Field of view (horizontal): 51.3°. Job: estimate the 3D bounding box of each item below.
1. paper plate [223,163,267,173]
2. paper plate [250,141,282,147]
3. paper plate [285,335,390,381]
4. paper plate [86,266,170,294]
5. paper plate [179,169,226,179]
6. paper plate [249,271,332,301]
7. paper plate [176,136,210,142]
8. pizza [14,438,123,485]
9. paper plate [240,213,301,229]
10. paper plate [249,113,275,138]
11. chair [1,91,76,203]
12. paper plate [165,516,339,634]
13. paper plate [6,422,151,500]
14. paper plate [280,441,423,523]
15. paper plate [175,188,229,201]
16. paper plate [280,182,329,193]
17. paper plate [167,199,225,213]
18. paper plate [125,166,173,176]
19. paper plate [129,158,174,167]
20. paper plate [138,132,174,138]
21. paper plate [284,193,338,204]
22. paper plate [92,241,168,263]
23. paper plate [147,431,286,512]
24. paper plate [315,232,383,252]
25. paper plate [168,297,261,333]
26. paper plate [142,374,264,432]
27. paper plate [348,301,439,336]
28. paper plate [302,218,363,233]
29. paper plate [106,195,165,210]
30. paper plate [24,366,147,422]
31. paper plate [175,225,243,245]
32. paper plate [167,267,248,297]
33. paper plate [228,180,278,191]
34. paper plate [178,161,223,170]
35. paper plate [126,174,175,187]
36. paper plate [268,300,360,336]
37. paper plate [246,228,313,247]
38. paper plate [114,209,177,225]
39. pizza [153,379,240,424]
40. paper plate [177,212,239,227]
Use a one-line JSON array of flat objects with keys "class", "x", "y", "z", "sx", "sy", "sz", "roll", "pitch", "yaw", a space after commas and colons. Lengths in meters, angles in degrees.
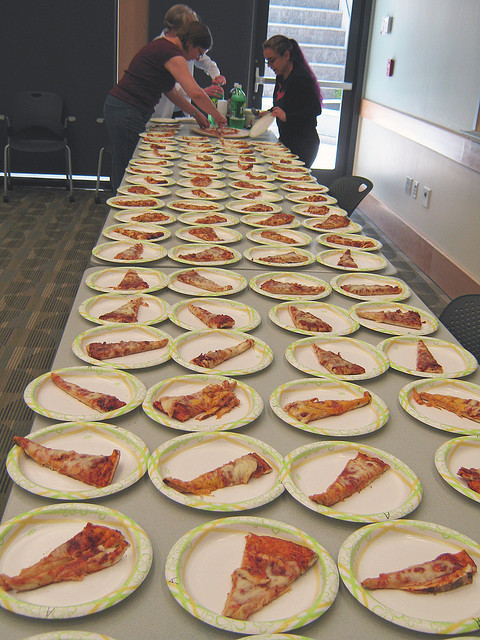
[{"class": "paper plate", "x": 0.029, "y": -0.768, "z": 2.505, "sx": 0.217, "sy": 0.034, "sz": 0.189, "roll": 4, "pitch": 19, "yaw": -1}, {"class": "paper plate", "x": 0.147, "y": -1.121, "z": 3.157, "sx": 0.179, "sy": 0.034, "sz": 0.222, "roll": -6, "pitch": 21, "yaw": -27}, {"class": "paper plate", "x": 0.188, "y": 0.074, "z": 0.970, "sx": 0.186, "sy": 0.030, "sz": 0.174, "roll": 16, "pitch": 22, "yaw": 31}, {"class": "paper plate", "x": -0.284, "y": -0.098, "z": 1.250, "sx": 0.134, "sy": 0.033, "sz": 0.140, "roll": -6, "pitch": 18, "yaw": -29}, {"class": "paper plate", "x": -0.173, "y": -0.681, "z": 2.314, "sx": 0.212, "sy": 0.034, "sz": 0.173, "roll": 2, "pitch": 19, "yaw": -7}, {"class": "paper plate", "x": 0.133, "y": -0.087, "z": 1.300, "sx": 0.196, "sy": 0.039, "sz": 0.175, "roll": 16, "pitch": 22, "yaw": 32}, {"class": "paper plate", "x": -0.302, "y": -1.124, "z": 3.084, "sx": 0.195, "sy": 0.042, "sz": 0.255, "roll": -4, "pitch": 20, "yaw": -22}, {"class": "pizza", "x": -0.223, "y": 0.178, "z": 0.677, "sx": 0.141, "sy": 0.053, "sz": 0.042, "roll": 15, "pitch": 48, "yaw": 9}, {"class": "paper plate", "x": 0.099, "y": -0.356, "z": 1.789, "sx": 0.118, "sy": 0.015, "sz": 0.115, "roll": -6, "pitch": 31, "yaw": -11}, {"class": "paper plate", "x": 0.137, "y": -1.306, "z": 3.328, "sx": 0.142, "sy": 0.164, "sz": 0.190, "roll": 4, "pitch": 19, "yaw": -2}, {"class": "chair", "x": -1.931, "y": -1.675, "z": 4.787, "sx": 0.692, "sy": 1.022, "sz": 0.705, "roll": -2, "pitch": 20, "yaw": -17}, {"class": "paper plate", "x": 0.010, "y": 0.260, "z": 0.508, "sx": 0.166, "sy": 0.026, "sz": 0.149, "roll": 14, "pitch": 21, "yaw": 27}, {"class": "paper plate", "x": -0.213, "y": 0.183, "z": 0.662, "sx": 0.183, "sy": 0.025, "sz": 0.159, "roll": 11, "pitch": 20, "yaw": 19}, {"class": "paper plate", "x": 0.144, "y": 0.215, "z": 0.658, "sx": 0.179, "sy": 0.026, "sz": 0.159, "roll": -7, "pitch": 22, "yaw": -31}, {"class": "paper plate", "x": -0.158, "y": -0.516, "z": 2.035, "sx": 0.163, "sy": 0.040, "sz": 0.191, "roll": 18, "pitch": 23, "yaw": 35}, {"class": "paper plate", "x": 0.289, "y": -0.608, "z": 2.274, "sx": 0.219, "sy": 0.038, "sz": 0.225, "roll": 6, "pitch": 19, "yaw": 5}, {"class": "paper plate", "x": -0.168, "y": -0.431, "z": 1.886, "sx": 0.198, "sy": 0.040, "sz": 0.170, "roll": 9, "pitch": 19, "yaw": 15}, {"class": "paper plate", "x": -0.415, "y": -0.697, "z": 2.318, "sx": 0.213, "sy": 0.037, "sz": 0.173, "roll": 6, "pitch": 19, "yaw": 4}, {"class": "paper plate", "x": -0.448, "y": -0.793, "z": 2.478, "sx": 0.160, "sy": 0.021, "sz": 0.099, "roll": -5, "pitch": 34, "yaw": -23}, {"class": "paper plate", "x": -0.517, "y": -1.141, "z": 3.066, "sx": 0.201, "sy": 0.039, "sz": 0.191, "roll": -7, "pitch": 22, "yaw": -31}, {"class": "paper plate", "x": 0.288, "y": -0.515, "z": 2.105, "sx": 0.116, "sy": 0.014, "sz": 0.112, "roll": -2, "pitch": 31, "yaw": -5}, {"class": "paper plate", "x": -0.316, "y": -0.200, "z": 1.441, "sx": 0.210, "sy": 0.035, "sz": 0.175, "roll": -1, "pitch": 19, "yaw": -14}, {"class": "paper plate", "x": -0.031, "y": 0.195, "z": 0.665, "sx": 0.181, "sy": 0.026, "sz": 0.168, "roll": 1, "pitch": 19, "yaw": -9}, {"class": "paper plate", "x": 0.357, "y": -0.258, "z": 1.639, "sx": 0.162, "sy": 0.022, "sz": 0.092, "roll": 6, "pitch": 29, "yaw": 9}, {"class": "paper plate", "x": -0.057, "y": -0.012, "z": 1.124, "sx": 0.209, "sy": 0.034, "sz": 0.179, "roll": 1, "pitch": 19, "yaw": -8}, {"class": "paper plate", "x": -0.057, "y": 0.132, "z": 0.800, "sx": 0.175, "sy": 0.033, "sz": 0.168, "roll": 12, "pitch": 20, "yaw": 23}, {"class": "paper plate", "x": 0.360, "y": -0.006, "z": 1.158, "sx": 0.210, "sy": 0.034, "sz": 0.168, "roll": -9, "pitch": 23, "yaw": -33}, {"class": "paper plate", "x": 0.332, "y": -0.335, "z": 1.799, "sx": 0.113, "sy": 0.014, "sz": 0.106, "roll": -11, "pitch": 31, "yaw": -18}, {"class": "paper plate", "x": -0.393, "y": -0.444, "z": 1.876, "sx": 0.157, "sy": 0.018, "sz": 0.102, "roll": 1, "pitch": 30, "yaw": -6}, {"class": "paper plate", "x": -0.248, "y": 0.117, "z": 0.807, "sx": 0.191, "sy": 0.032, "sz": 0.172, "roll": 1, "pitch": 19, "yaw": -9}, {"class": "paper plate", "x": -0.109, "y": -0.281, "z": 1.624, "sx": 0.201, "sy": 0.038, "sz": 0.184, "roll": 19, "pitch": 24, "yaw": 38}, {"class": "paper plate", "x": -0.088, "y": -0.099, "z": 1.282, "sx": 0.189, "sy": 0.031, "sz": 0.201, "roll": 13, "pitch": 21, "yaw": 25}, {"class": "paper plate", "x": 0.057, "y": -0.594, "z": 2.193, "sx": 0.204, "sy": 0.032, "sz": 0.139, "roll": 0, "pitch": 19, "yaw": -12}, {"class": "paper plate", "x": -0.199, "y": -0.760, "z": 2.446, "sx": 0.151, "sy": 0.021, "sz": 0.097, "roll": -4, "pitch": 33, "yaw": -14}, {"class": "paper plate", "x": -0.397, "y": -0.615, "z": 2.179, "sx": 0.229, "sy": 0.036, "sz": 0.165, "roll": 8, "pitch": 19, "yaw": 12}, {"class": "paper plate", "x": 0.169, "y": -0.004, "z": 1.134, "sx": 0.196, "sy": 0.030, "sz": 0.171, "roll": 12, "pitch": 20, "yaw": 22}, {"class": "paper plate", "x": 0.127, "y": -0.277, "z": 1.651, "sx": 0.204, "sy": 0.038, "sz": 0.164, "roll": 14, "pitch": 21, "yaw": 28}, {"class": "paper plate", "x": -0.328, "y": -0.360, "z": 1.729, "sx": 0.218, "sy": 0.035, "sz": 0.169, "roll": 1, "pitch": 19, "yaw": -9}, {"class": "pizza", "x": -0.060, "y": 0.129, "z": 0.795, "sx": 0.086, "sy": 0.026, "sz": 0.065, "roll": -17, "pitch": 32, "yaw": -34}, {"class": "paper plate", "x": -0.114, "y": -0.359, "z": 1.767, "sx": 0.206, "sy": 0.034, "sz": 0.183, "roll": -5, "pitch": 21, "yaw": -24}]
